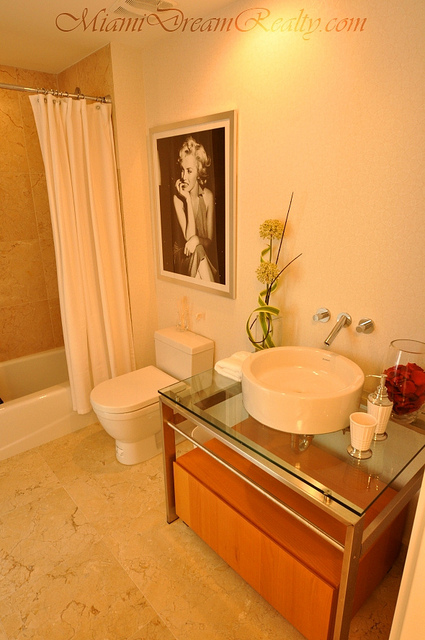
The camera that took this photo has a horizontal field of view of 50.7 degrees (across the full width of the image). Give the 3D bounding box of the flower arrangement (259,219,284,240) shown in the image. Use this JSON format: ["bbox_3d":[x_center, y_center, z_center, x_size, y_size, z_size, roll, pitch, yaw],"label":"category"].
[{"bbox_3d":[0.250,-0.375,1.830,0.076,0.089,0.083,-1,19,1],"label":"flower arrangement"}]

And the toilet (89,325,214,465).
[{"bbox_3d":[-0.348,0.440,2.464,0.669,0.639,0.384,-17,25,-40],"label":"toilet"}]

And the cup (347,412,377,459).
[{"bbox_3d":[0.412,0.317,1.242,0.070,0.102,0.067,2,16,-1],"label":"cup"}]

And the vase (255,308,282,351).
[{"bbox_3d":[0.232,0.053,1.949,0.104,0.166,0.106,9,-8,-39],"label":"vase"}]

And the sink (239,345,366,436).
[{"bbox_3d":[0.274,0.229,1.427,0.295,0.119,0.300,21,36,39],"label":"sink"}]

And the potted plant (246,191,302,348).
[{"bbox_3d":[0.268,-0.166,1.931,0.202,0.750,0.398,2,19,4],"label":"potted plant"}]
